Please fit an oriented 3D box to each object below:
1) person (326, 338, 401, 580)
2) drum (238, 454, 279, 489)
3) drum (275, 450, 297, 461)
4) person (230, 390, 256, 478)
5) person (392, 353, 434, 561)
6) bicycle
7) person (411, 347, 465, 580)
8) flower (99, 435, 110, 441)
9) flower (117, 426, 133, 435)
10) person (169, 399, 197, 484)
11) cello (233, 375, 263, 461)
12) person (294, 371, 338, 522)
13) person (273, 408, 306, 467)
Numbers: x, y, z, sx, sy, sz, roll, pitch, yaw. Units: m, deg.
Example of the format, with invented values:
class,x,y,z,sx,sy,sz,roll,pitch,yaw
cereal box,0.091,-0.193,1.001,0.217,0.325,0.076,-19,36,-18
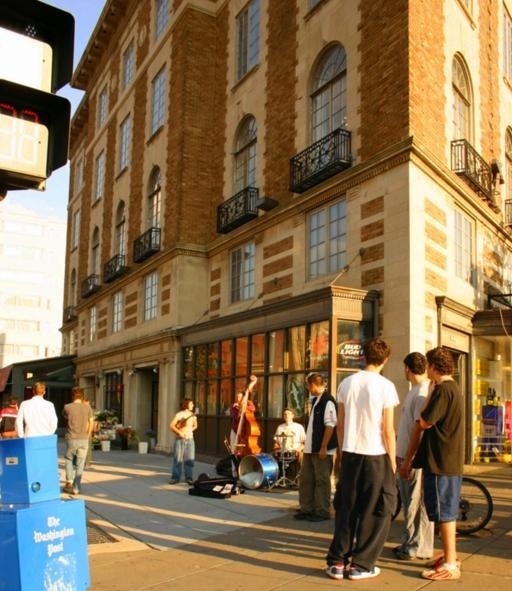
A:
class,x,y,z,sx,sy,sz,roll,pitch,yaw
person,0.852,1.460,7.027,0.827,1.994,0.637,3,-5,-38
drum,0.009,2.983,12.799,0.597,0.604,0.392,-2,-12,39
drum,0.529,2.719,12.779,0.388,0.156,0.419,0,-12,0
person,-0.227,2.690,14.136,0.382,1.306,0.475,2,-4,-24
person,1.534,1.648,7.441,0.369,2.137,0.836,2,-7,-10
bicycle,2.112,2.321,8.696,1.114,0.782,0.583,2,0,13
person,1.665,1.537,7.020,0.515,2.099,0.679,1,-8,18
flower,-4.890,4.596,24.404,0.231,0.218,0.236,0,-2,-37
flower,-4.232,4.337,24.279,0.351,0.323,0.377,-1,-6,0
person,-1.334,2.750,14.221,0.563,1.557,0.458,-3,-5,44
cello,-0.156,2.445,14.778,0.495,2.081,0.769,18,-32,-32
person,0.755,1.890,9.485,0.469,1.882,0.735,5,-11,-25
person,0.550,2.412,12.901,0.490,0.974,0.484,-2,-5,9
